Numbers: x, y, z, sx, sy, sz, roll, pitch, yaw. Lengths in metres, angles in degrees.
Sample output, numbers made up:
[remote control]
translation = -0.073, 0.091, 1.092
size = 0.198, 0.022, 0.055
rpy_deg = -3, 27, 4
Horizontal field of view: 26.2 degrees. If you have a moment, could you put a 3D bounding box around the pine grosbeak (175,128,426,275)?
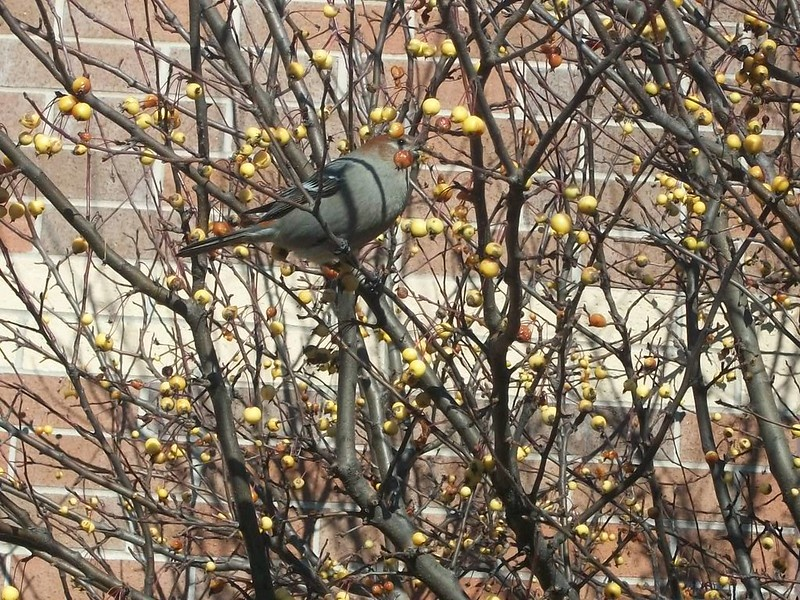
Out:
[pine grosbeak]
translation = -0.317, -0.360, 6.360
size = 0.941, 0.516, 0.270
rpy_deg = -1, -22, 8
